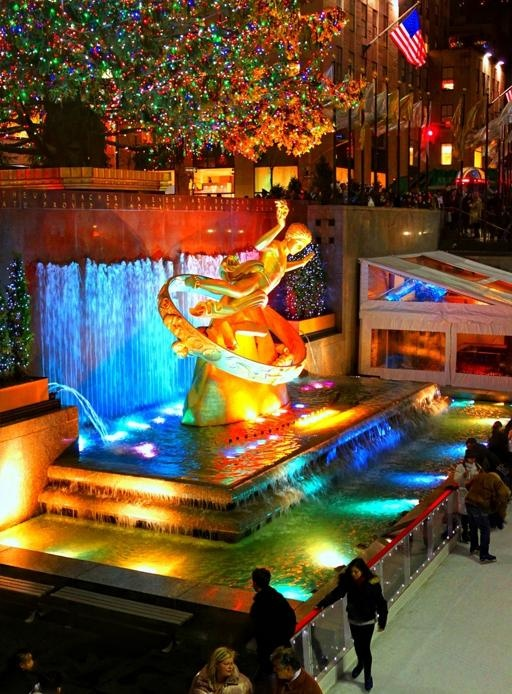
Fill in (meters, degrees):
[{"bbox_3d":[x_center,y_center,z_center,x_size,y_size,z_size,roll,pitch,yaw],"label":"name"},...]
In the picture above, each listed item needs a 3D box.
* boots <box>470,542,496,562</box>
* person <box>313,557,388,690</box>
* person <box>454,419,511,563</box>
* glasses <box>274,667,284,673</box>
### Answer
[{"bbox_3d":[2.758,2.547,6.648,0.302,0.127,0.102,5,9,25],"label":"boots"},{"bbox_3d":[0.666,1.916,3.779,0.477,0.890,0.343,0,-3,7],"label":"person"},{"bbox_3d":[3.092,2.003,7.391,0.792,1.967,0.880,-14,20,-9],"label":"person"},{"bbox_3d":[0.085,1.170,1.979,0.031,0.015,0.042,-8,-14,16],"label":"glasses"}]
